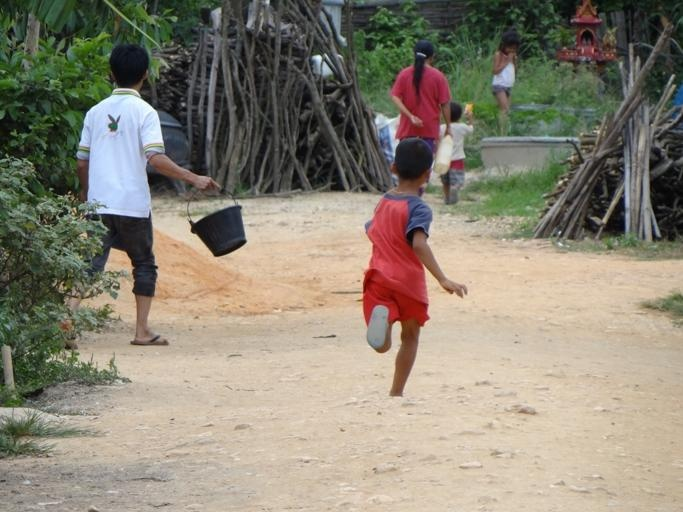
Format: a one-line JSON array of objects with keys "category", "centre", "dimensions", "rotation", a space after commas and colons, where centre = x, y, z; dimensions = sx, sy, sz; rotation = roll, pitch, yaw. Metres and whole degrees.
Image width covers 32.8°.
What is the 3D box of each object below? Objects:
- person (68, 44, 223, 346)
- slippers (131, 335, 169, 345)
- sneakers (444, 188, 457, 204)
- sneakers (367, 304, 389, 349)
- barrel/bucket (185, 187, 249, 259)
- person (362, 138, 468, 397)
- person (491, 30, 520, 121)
[{"category": "person", "centre": [-1.627, -0.452, 9.087], "dimensions": [0.842, 2.336, 0.639], "rotation": [-2, 16, -12]}, {"category": "slippers", "centre": [-1.530, 0.669, 9.265], "dimensions": [0.229, 0.051, 0.105], "rotation": [-1, -3, 1]}, {"category": "sneakers", "centre": [1.503, -0.808, 15.912], "dimensions": [0.111, 0.253, 0.127], "rotation": [-1, 7, 10]}, {"category": "sneakers", "centre": [0.246, 0.483, 7.964], "dimensions": [0.166, 0.276, 0.145], "rotation": [8, -7, 14]}, {"category": "barrel/bucket", "centre": [-1.066, -0.323, 9.938], "dimensions": [0.521, 0.586, 0.475], "rotation": [-24, -11, -5]}, {"category": "person", "centre": [0.455, 0.071, 8.013], "dimensions": [0.603, 1.690, 0.694], "rotation": [2, 15, 1]}, {"category": "person", "centre": [2.648, -2.920, 18.963], "dimensions": [0.367, 1.414, 1.107], "rotation": [4, 15, 7]}]
